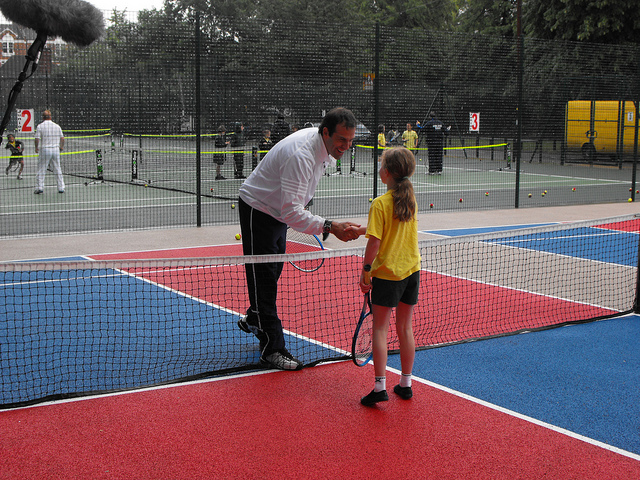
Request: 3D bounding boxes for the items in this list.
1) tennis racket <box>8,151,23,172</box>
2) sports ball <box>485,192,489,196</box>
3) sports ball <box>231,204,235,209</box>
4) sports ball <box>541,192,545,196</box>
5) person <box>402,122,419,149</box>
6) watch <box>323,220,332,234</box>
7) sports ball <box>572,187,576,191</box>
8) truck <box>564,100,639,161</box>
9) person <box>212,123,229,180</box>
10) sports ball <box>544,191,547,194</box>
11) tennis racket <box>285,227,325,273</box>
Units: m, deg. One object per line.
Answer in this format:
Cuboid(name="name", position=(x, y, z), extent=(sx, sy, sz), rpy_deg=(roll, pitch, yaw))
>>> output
Cuboid(name="tennis racket", position=(-8.293, -2.145, 15.827), extent=(0.245, 0.487, 0.129), rpy_deg=(-4, -30, 7))
Cuboid(name="sports ball", position=(4.702, -1.321, 16.406), extent=(0.140, 0.137, 0.150), rpy_deg=(0, 5, 0))
Cuboid(name="sports ball", position=(-1.942, -0.756, 12.944), extent=(0.090, 0.101, 0.086), rpy_deg=(-1, 1, 0))
Cuboid(name="sports ball", position=(6.405, -1.314, 16.663), extent=(0.114, 0.136, 0.128), rpy_deg=(0, 3, 2))
Cuboid(name="person", position=(2.200, -2.510, 14.062), extent=(0.368, 0.661, 1.498), rpy_deg=(2, 13, 10))
Cuboid(name="watch", position=(0.069, -0.114, 5.313), extent=(0.058, 0.107, 0.090), rpy_deg=(4, 12, 1))
Cuboid(name="sports ball", position=(7.669, -1.538, 17.556), extent=(0.141, 0.117, 0.204), rpy_deg=(-8, 3, 23))
Cuboid(name="truck", position=(10.927, -4.118, 22.581), extent=(2.195, 2.398, 5.397), rpy_deg=(6, 14, 27))
Cuboid(name="person", position=(-2.197, -1.887, 12.812), extent=(0.355, 1.308, 1.839), rpy_deg=(-2, 12, -10))
Cuboid(name="sports ball", position=(6.722, -1.416, 17.305), extent=(0.100, 0.119, 0.111), rpy_deg=(3, 10, 19))
Cuboid(name="tennis racket", position=(-0.231, 0.150, 8.860), extent=(0.609, 0.037, 0.940), rpy_deg=(7, 42, -10))
